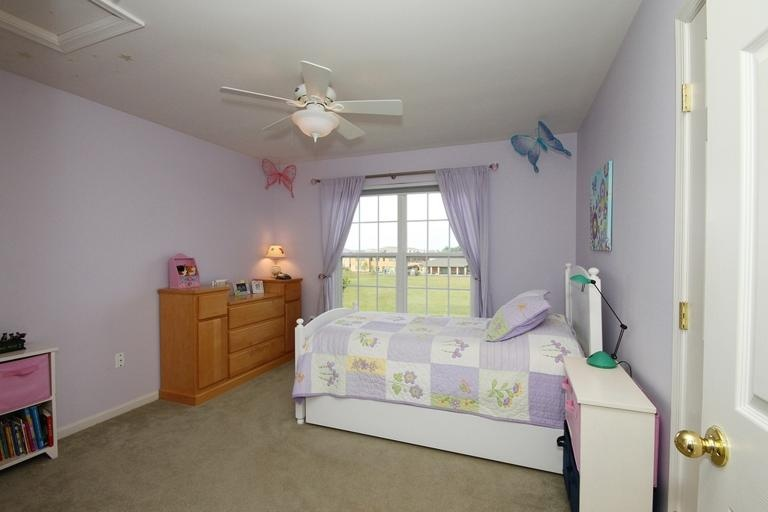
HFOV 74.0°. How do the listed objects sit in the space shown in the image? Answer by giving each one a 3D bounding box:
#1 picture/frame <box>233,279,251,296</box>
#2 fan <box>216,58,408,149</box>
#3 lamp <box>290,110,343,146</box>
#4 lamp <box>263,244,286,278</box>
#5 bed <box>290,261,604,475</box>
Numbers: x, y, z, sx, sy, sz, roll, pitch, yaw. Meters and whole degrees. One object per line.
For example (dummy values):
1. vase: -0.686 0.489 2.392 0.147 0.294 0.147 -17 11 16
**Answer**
1. picture/frame: -1.670 0.371 5.919 0.059 0.163 0.167 -18 -11 33
2. fan: -0.623 -1.211 4.170 1.211 0.593 1.357 -2 0 -25
3. lamp: -0.525 -1.035 3.960 0.301 0.242 0.281 -2 0 21
4. lamp: -1.399 0.061 6.580 0.257 0.391 0.262 -2 -4 3
5. bed: 0.610 0.895 4.847 2.344 1.568 1.541 2 -2 21
